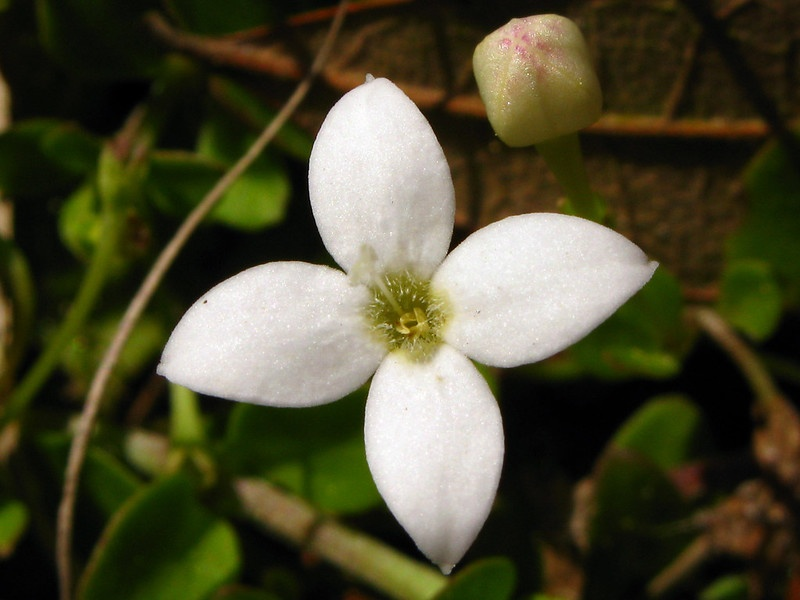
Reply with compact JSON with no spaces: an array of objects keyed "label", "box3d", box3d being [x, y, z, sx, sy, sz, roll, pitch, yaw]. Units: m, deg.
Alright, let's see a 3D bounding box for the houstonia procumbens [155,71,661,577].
[{"label":"houstonia procumbens","box3d":[0.005,0.078,1.532,0.716,0.358,0.874,7,55,6]}]
